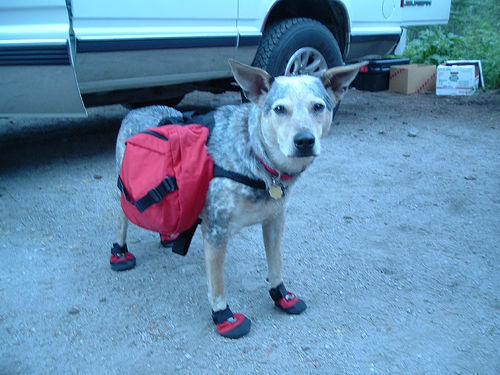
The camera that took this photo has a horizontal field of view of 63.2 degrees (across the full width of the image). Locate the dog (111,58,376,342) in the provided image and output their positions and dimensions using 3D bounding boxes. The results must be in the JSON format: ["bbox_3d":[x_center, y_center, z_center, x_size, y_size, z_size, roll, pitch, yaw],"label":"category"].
[{"bbox_3d":[-0.322,-0.311,4.065,2.744,2.553,1.513,18,20,37],"label":"dog"}]

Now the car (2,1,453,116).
[{"bbox_3d":[-0.486,-1.656,5.241,4.238,1.099,2.109,-6,11,-34],"label":"car"}]

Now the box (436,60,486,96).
[{"bbox_3d":[4.396,-2.590,8.563,0.701,0.681,1.064,9,53,33],"label":"box"}]
